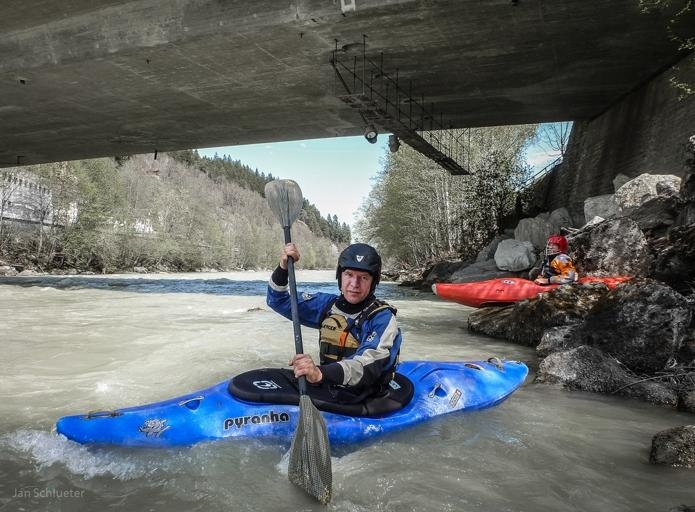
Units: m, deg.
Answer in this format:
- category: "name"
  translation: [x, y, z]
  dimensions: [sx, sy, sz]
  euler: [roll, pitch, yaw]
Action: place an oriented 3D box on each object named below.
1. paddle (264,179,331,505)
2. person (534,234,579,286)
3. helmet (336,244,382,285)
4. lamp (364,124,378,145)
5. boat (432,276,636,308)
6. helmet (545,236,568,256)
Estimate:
- category: "paddle"
  translation: [-0.354, 0.430, 3.053]
  dimensions: [0.461, 2.070, 1.106]
  euler: [1, 2, -10]
- category: "person"
  translation: [3.932, 0.095, 8.094]
  dimensions: [0.393, 0.947, 0.877]
  euler: [1, 1, 0]
- category: "helmet"
  translation: [0.088, 0.069, 3.276]
  dimensions: [0.338, 0.329, 0.251]
  euler: [1, 2, -1]
- category: "lamp"
  translation: [0.675, -3.454, 12.289]
  dimensions: [0.301, 0.695, 0.631]
  euler: [1, 1, 1]
- category: "boat"
  translation: [3.467, 0.737, 8.692]
  dimensions: [3.822, 0.481, 1.010]
  euler: [-5, -4, 21]
- category: "helmet"
  translation: [4.075, -0.191, 8.324]
  dimensions: [0.537, 0.329, 0.344]
  euler: [-1, -4, -6]
